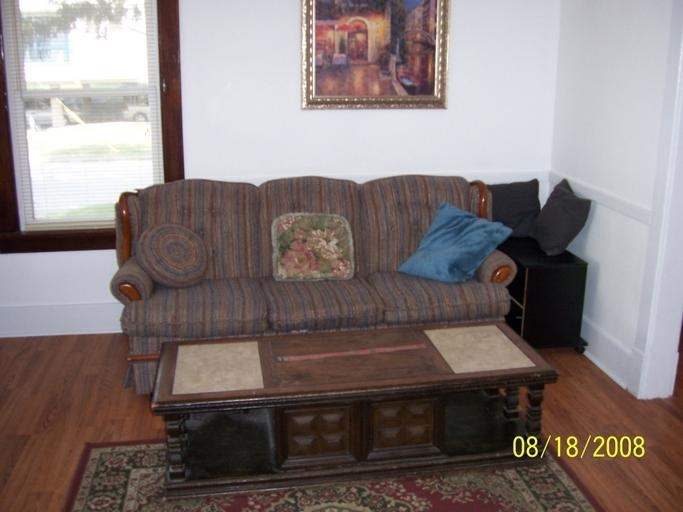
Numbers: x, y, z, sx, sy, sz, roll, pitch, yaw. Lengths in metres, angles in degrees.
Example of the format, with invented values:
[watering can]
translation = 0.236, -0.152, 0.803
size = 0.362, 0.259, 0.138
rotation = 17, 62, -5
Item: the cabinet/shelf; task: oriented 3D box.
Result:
[cabinet/shelf]
translation = 1.502, 0.271, 4.199
size = 0.594, 0.780, 0.922
rotation = -4, 23, -5
